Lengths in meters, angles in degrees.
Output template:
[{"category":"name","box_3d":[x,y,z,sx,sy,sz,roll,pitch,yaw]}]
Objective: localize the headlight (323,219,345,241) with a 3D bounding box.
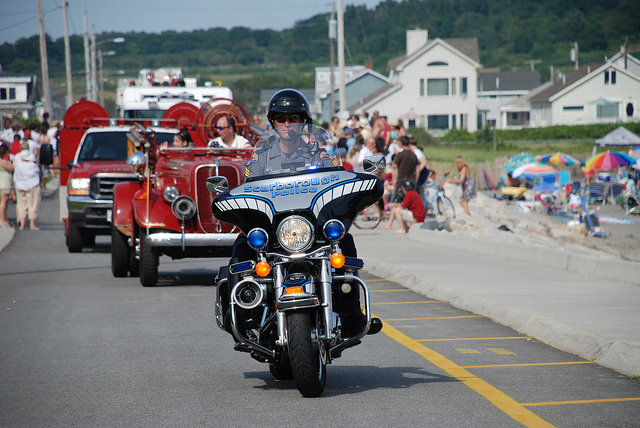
[{"category":"headlight","box_3d":[0.186,0.228,15.600,0.301,0.303,0.143,-1,12,0]}]

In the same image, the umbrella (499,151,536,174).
[{"category":"umbrella","box_3d":[8.299,-2.157,46.834,1.381,0.672,1.432,-4,3,4]}]

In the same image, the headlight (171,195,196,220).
[{"category":"headlight","box_3d":[-2.613,-0.134,21.161,0.453,0.444,0.266,-2,12,-7]}]

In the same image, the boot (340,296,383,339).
[{"category":"boot","box_3d":[0.406,1.495,15.933,0.915,0.682,0.312,-3,-1,15]}]

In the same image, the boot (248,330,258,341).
[{"category":"boot","box_3d":[-0.961,1.738,15.814,0.165,0.116,0.048,11,16,42]}]

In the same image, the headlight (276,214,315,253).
[{"category":"headlight","box_3d":[-0.346,0.280,15.524,0.518,0.511,0.140,-1,12,-1]}]

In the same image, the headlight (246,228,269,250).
[{"category":"headlight","box_3d":[-0.889,0.348,15.508,0.266,0.284,0.163,2,-1,5]}]

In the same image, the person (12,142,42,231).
[{"category":"person","box_3d":[-7.953,-0.741,30.074,0.650,2.316,0.720,-3,12,-13]}]

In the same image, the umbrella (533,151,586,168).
[{"category":"umbrella","box_3d":[10.187,-2.342,47.269,1.441,0.551,1.494,3,10,12]}]
